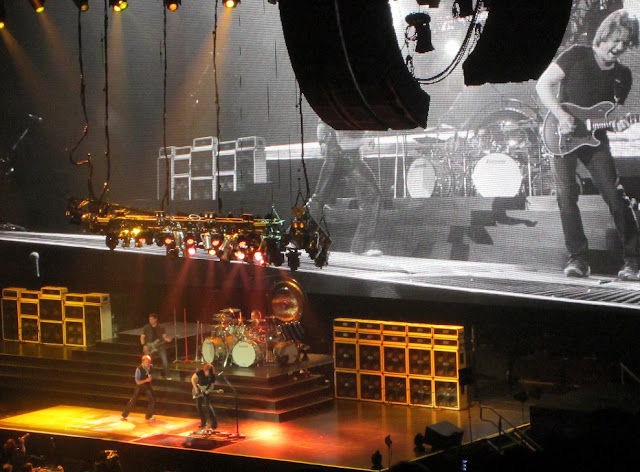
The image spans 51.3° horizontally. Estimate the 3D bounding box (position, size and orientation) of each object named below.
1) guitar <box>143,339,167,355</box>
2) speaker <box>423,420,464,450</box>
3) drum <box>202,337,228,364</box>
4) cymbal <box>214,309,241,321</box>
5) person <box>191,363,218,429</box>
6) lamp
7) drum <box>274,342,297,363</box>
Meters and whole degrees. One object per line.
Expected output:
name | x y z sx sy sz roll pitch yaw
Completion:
guitar | -3.610 2.402 14.466 0.462 0.168 0.069 -6 -11 -19
speaker | 2.108 3.381 11.342 0.463 0.299 0.439 -3 -16 -42
drum | -2.338 2.504 14.552 0.667 0.593 0.257 1 -1 32
cymbal | -2.068 1.754 14.841 0.596 0.275 0.607 1 -1 -10
person | -2.168 3.102 12.754 0.614 1.194 0.196 3 10 6
lamp | -2.182 0.218 12.969 3.832 0.712 0.787 1 -1 12
drum | -0.735 2.482 14.192 0.383 0.368 0.211 -31 13 -33
